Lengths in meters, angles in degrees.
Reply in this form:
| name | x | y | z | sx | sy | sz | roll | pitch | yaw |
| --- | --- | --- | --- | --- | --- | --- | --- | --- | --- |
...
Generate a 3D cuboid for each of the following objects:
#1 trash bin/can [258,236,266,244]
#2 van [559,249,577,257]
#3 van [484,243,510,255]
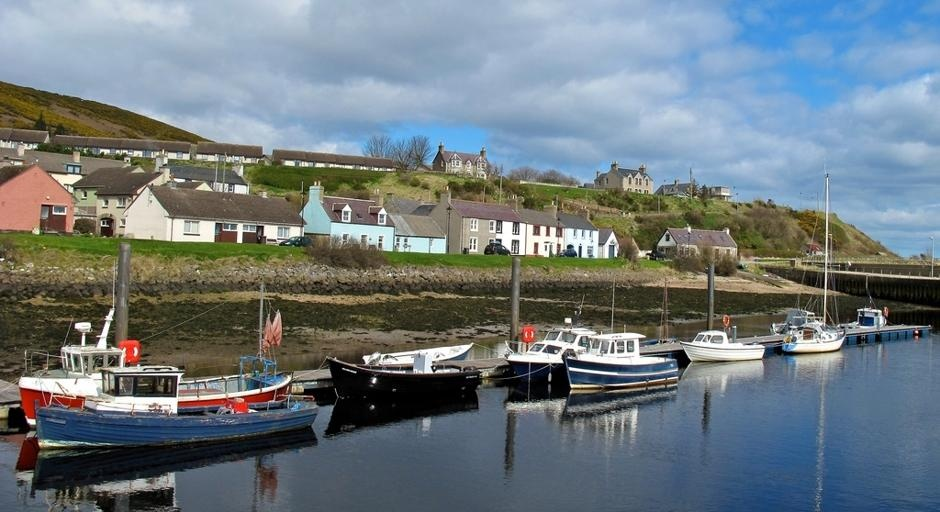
| name | x | y | z | sx | sy | sz | roll | pitch | yaw |
| --- | --- | --- | --- | --- | --- | --- | --- | --- | --- |
| trash bin/can | -27.497 | -2.276 | 162.094 | 1.566 | 1.278 | 0.829 | 1 | -5 | -3 |
| van | 14.728 | -0.693 | 184.287 | 2.342 | 1.073 | 1.190 | 6 | -9 | -41 |
| van | 3.628 | -1.096 | 175.613 | 3.041 | 1.455 | 1.757 | -5 | 8 | -26 |
